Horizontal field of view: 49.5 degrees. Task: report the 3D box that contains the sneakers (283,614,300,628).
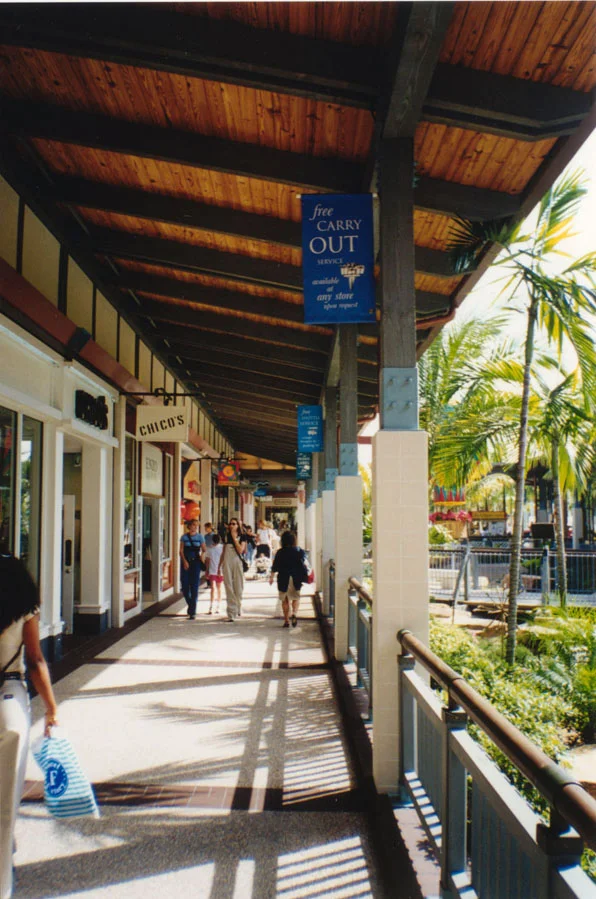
[{"bbox_3d":[-0.114,2.551,9.548,0.150,0.202,0.488,1,-14,-3],"label":"sneakers"}]
